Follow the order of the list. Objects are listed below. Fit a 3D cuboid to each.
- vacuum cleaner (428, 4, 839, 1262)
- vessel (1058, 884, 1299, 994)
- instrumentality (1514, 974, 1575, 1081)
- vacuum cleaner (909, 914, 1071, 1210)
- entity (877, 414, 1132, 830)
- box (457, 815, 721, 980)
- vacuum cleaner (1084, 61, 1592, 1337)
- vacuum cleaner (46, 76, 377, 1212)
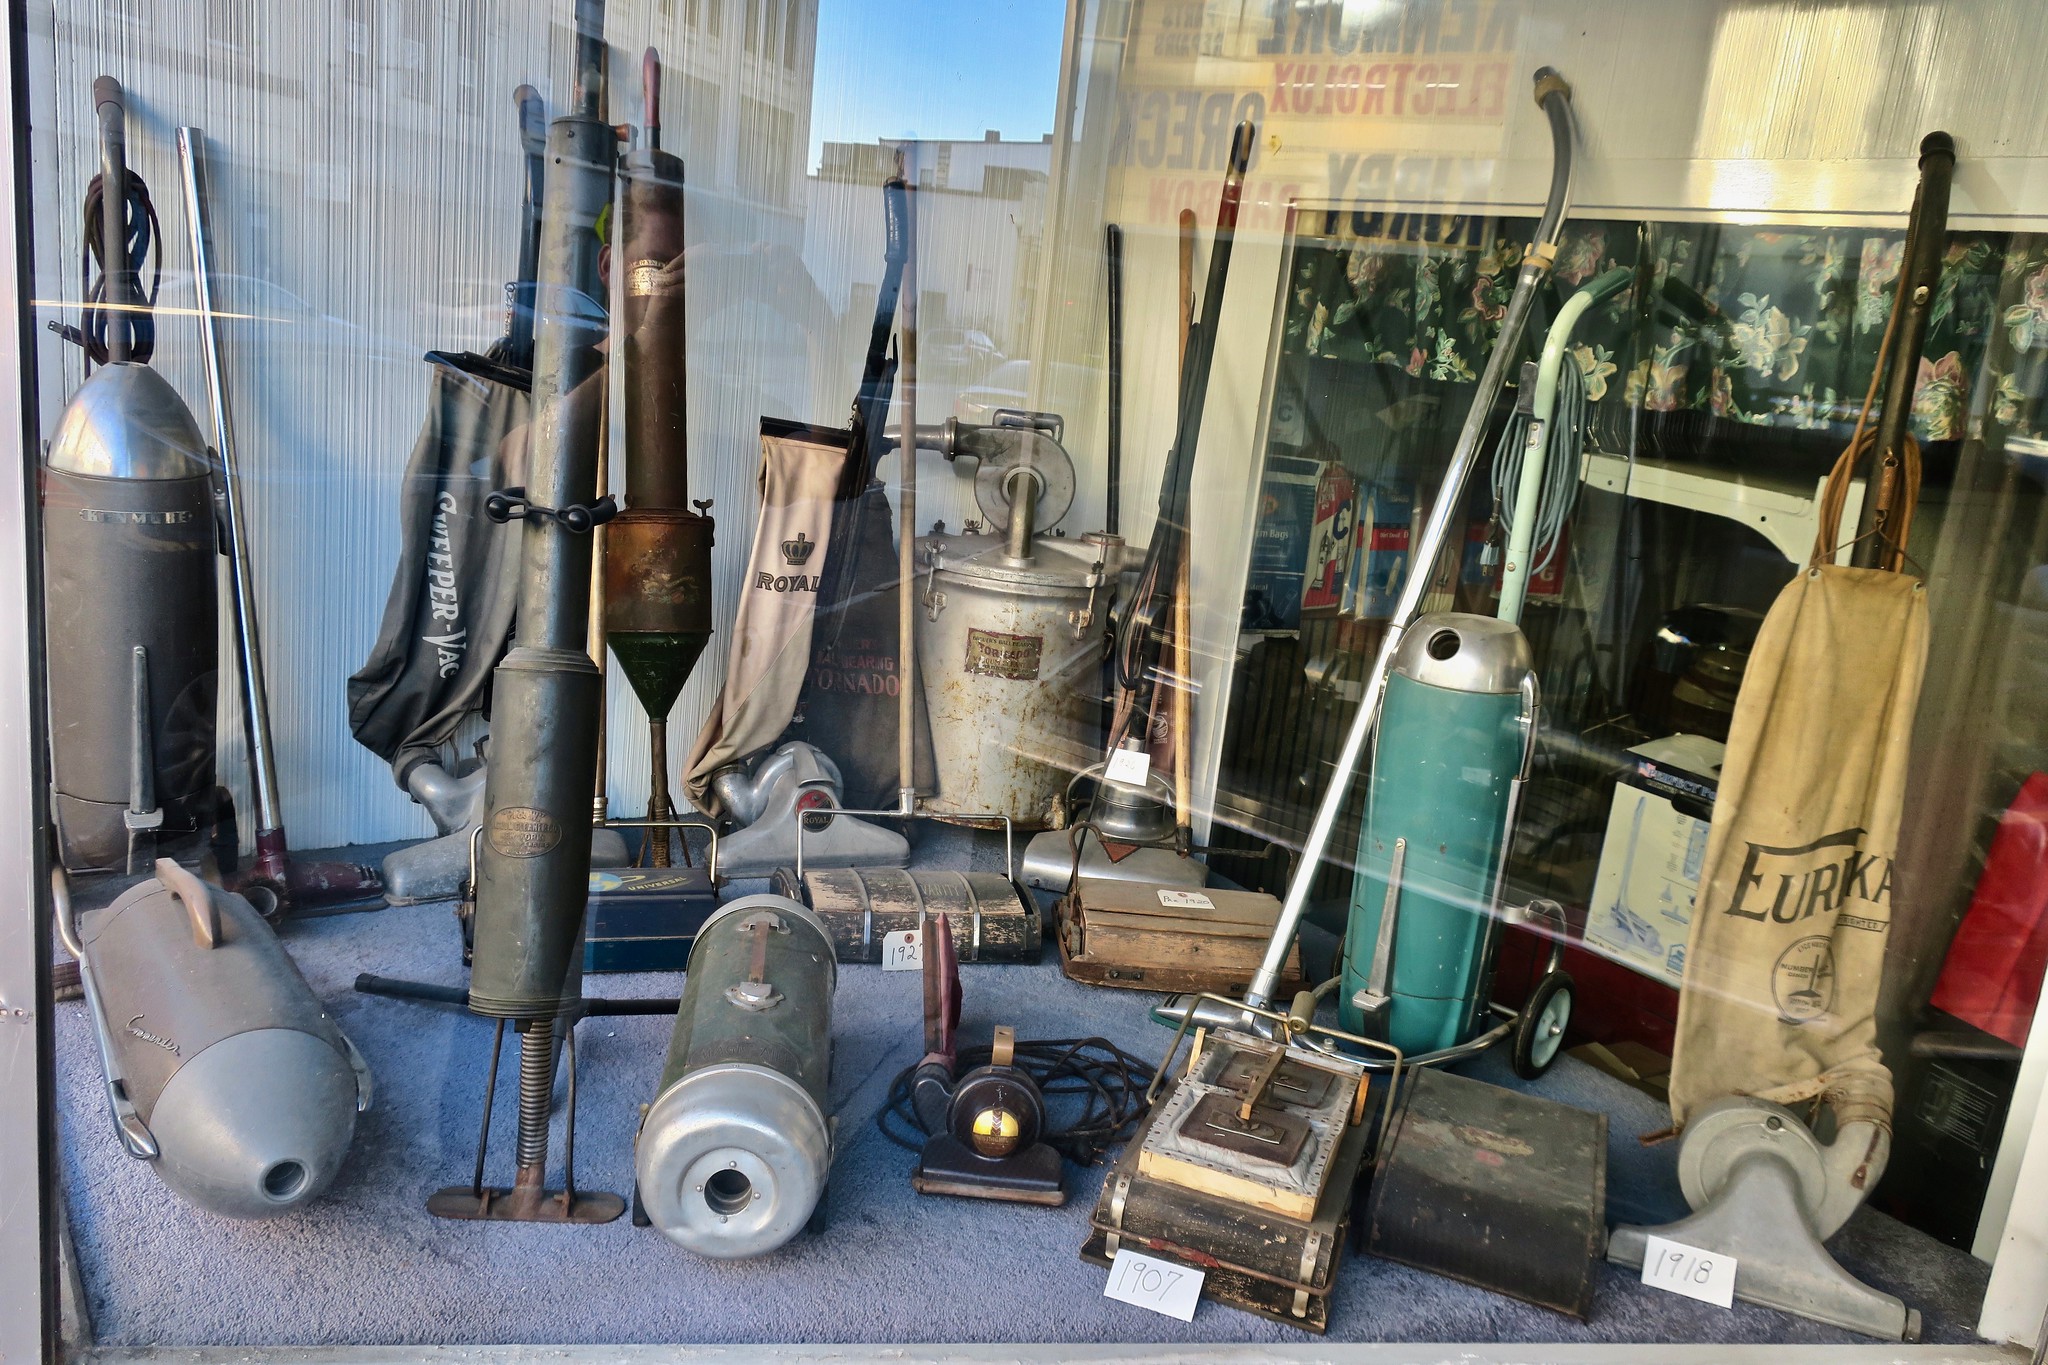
[{"bbox_3d":[-0.584,-0.082,2.658,0.691,2.080,0.621,6,12,3],"label":"vacuum cleaner"},{"bbox_3d":[0.337,0.573,3.428,0.346,0.110,0.280,1,27,-2],"label":"vessel"},{"bbox_3d":[1.122,0.749,3.282,0.068,0.170,0.168,21,-14,28],"label":"instrumentality"},{"bbox_3d":[-0.127,0.723,3.098,0.269,0.263,0.704,8,18,-17],"label":"vacuum cleaner"},{"bbox_3d":[-0.007,-0.148,3.692,0.482,0.925,0.546,10,18,18],"label":"entity"},{"bbox_3d":[-0.892,0.486,3.221,0.536,0.384,0.316,0,-9,-9],"label":"box"},{"bbox_3d":[0.706,-0.051,2.869,0.964,2.231,0.939,6,12,2],"label":"vacuum cleaner"},{"bbox_3d":[-1.395,-0.049,2.537,0.407,1.791,0.642,-5,16,-40],"label":"vacuum cleaner"}]
